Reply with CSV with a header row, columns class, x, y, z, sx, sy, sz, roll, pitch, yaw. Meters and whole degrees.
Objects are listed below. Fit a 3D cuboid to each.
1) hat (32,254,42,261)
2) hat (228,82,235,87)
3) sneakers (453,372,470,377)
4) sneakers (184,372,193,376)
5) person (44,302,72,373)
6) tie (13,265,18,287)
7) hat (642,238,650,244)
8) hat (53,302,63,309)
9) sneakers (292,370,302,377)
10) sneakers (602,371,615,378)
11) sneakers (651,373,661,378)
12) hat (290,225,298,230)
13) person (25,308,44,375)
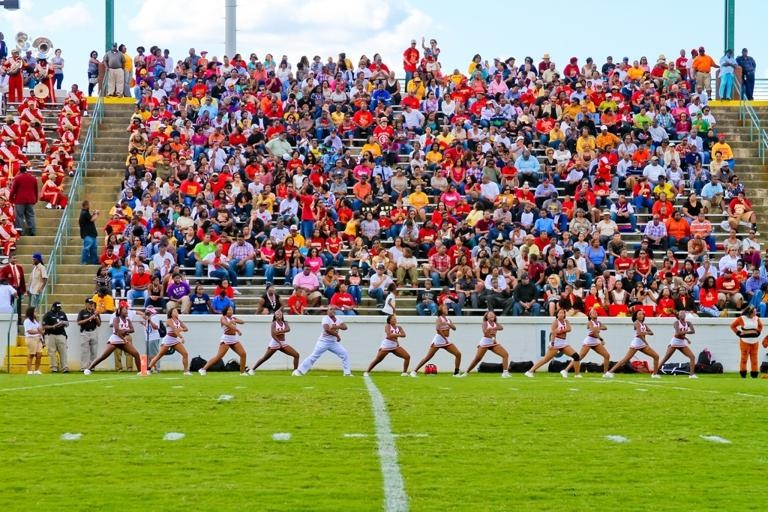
class,x,y,z,sx,sy,sz,roll,pitch,yaw
hat,-10.288,0.061,55.340,0.192,0.231,0.244,4,15,21
hat,-5.277,-5.938,64.480,0.151,0.182,0.188,-5,-26,-48
sneakers,2.231,3.386,52.862,0.374,0.166,0.131,-3,4,10
sneakers,-5.531,3.335,52.616,0.268,0.129,0.091,-2,5,1
person,-9.514,2.339,53.853,0.713,2.000,0.610,0,-3,-11
tie,-10.895,0.546,55.162,0.074,0.580,0.261,-3,-4,36
hat,7.931,-0.453,56.516,0.162,0.101,0.260,20,-1,-6
hat,-9.487,1.430,54.028,0.207,0.232,0.587,1,-4,-16
sneakers,-2.439,3.293,52.255,0.159,0.199,0.212,2,2,1
sneakers,6.380,3.379,52.767,0.126,0.150,0.348,10,3,44
sneakers,7.674,3.401,52.727,0.106,0.142,0.320,-1,-3,-37
hat,-2.760,-0.882,57.246,0.208,0.154,0.342,0,-1,0
person,-9.978,2.413,53.160,0.555,1.933,1.167,0,-3,-11
